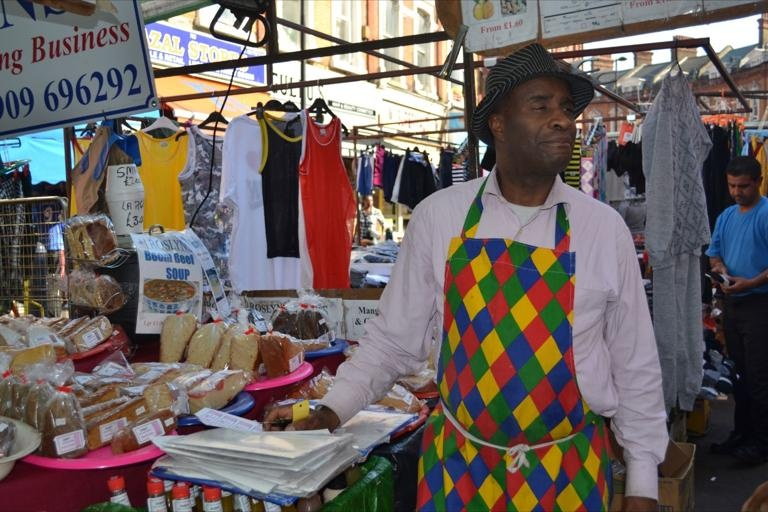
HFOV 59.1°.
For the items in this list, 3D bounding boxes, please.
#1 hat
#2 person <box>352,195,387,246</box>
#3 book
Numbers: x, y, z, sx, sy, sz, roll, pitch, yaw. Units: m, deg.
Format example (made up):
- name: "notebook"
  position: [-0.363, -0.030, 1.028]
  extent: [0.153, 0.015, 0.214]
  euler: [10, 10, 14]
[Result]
- name: "hat"
  position: [0.646, -0.626, 3.091]
  extent: [0.419, 0.252, 0.470]
  euler: [-13, -24, -26]
- name: "person"
  position: [-0.282, -0.481, 12.051]
  extent: [0.470, 1.252, 0.353]
  euler: [-1, -19, -4]
- name: "book"
  position: [-0.548, 0.859, 2.851]
  extent: [0.846, 0.308, 0.289]
  euler: [-2, 0, 7]
